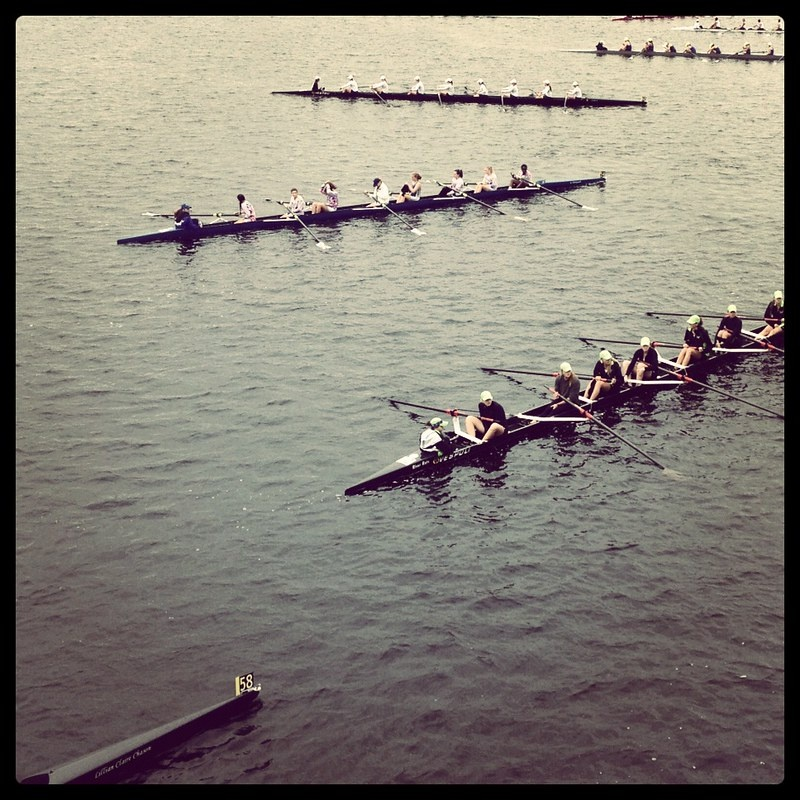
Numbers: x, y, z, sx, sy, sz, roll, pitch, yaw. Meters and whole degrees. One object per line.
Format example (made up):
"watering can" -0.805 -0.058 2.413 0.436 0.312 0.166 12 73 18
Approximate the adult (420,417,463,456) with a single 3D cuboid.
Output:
"adult" 1.336 1.298 48.525 1.132 0.986 1.564 18 36 27

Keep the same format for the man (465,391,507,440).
"man" 3.198 0.578 49.312 1.470 1.814 0.896 -3 15 1

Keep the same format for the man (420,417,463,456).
"man" 1.385 1.333 48.520 1.132 0.986 1.564 18 36 27

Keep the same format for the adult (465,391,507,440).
"adult" 3.196 0.578 49.312 1.473 1.814 0.896 -3 15 1

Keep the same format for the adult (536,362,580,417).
"adult" 6.341 -0.447 51.071 1.179 2.083 0.891 -2 15 6

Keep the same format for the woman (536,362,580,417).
"woman" 6.341 -0.447 51.071 1.180 2.083 0.891 -2 15 6
